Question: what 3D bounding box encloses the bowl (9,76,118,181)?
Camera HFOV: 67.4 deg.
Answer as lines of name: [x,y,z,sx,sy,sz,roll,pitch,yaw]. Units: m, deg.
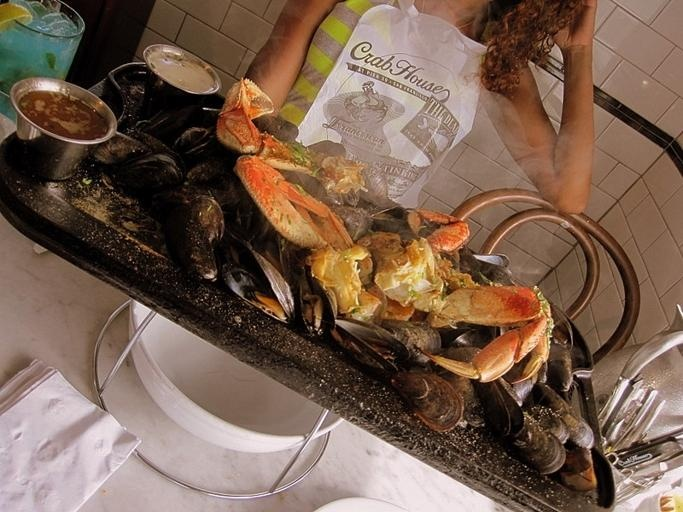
bowl: [-0.338,-0.151,0.600,0.119,0.095,0.085,35,18,-3]
